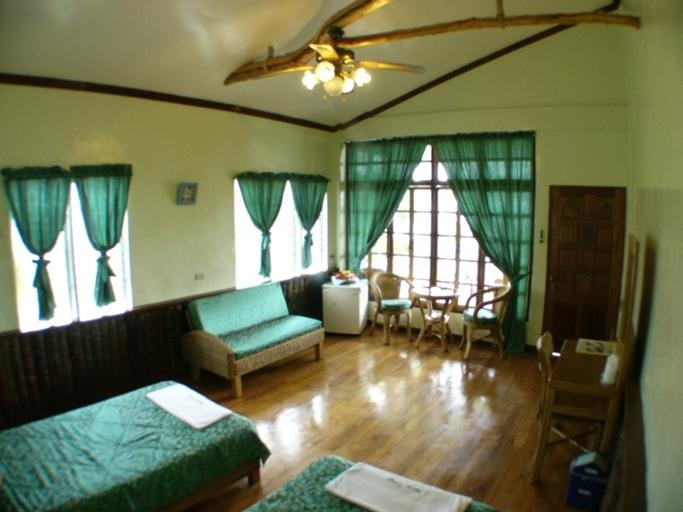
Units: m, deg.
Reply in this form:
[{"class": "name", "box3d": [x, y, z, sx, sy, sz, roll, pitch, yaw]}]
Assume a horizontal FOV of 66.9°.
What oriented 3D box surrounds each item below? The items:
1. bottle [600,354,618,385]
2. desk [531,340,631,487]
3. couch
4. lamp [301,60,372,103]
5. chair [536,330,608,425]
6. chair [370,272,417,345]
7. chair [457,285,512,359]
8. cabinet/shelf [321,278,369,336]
[{"class": "bottle", "box3d": [2.351, 0.980, 4.496, 0.086, 0.274, 0.133, 35, -14, -33]}, {"class": "desk", "box3d": [2.185, 1.325, 4.789, 0.649, 1.441, 0.826, 7, 15, 24]}, {"class": "couch", "box3d": [-1.126, 1.004, 6.794, 1.107, 1.130, 1.744, 3, 9, 33]}, {"class": "lamp", "box3d": [-0.046, -1.513, 4.400, 0.485, 0.265, 0.525, -7, 14, -42]}, {"class": "chair", "box3d": [2.187, 1.184, 4.903, 0.465, 0.596, 0.902, -1, 8, 29]}, {"class": "chair", "box3d": [0.757, 0.800, 8.058, 0.702, 0.993, 0.605, -7, 10, -37]}, {"class": "chair", "box3d": [2.058, 0.892, 7.393, 0.620, 1.030, 0.851, 4, 14, 14]}, {"class": "cabinet/shelf", "box3d": [0.065, 0.825, 8.216, 0.759, 0.833, 0.520, -1, 14, -7]}]
